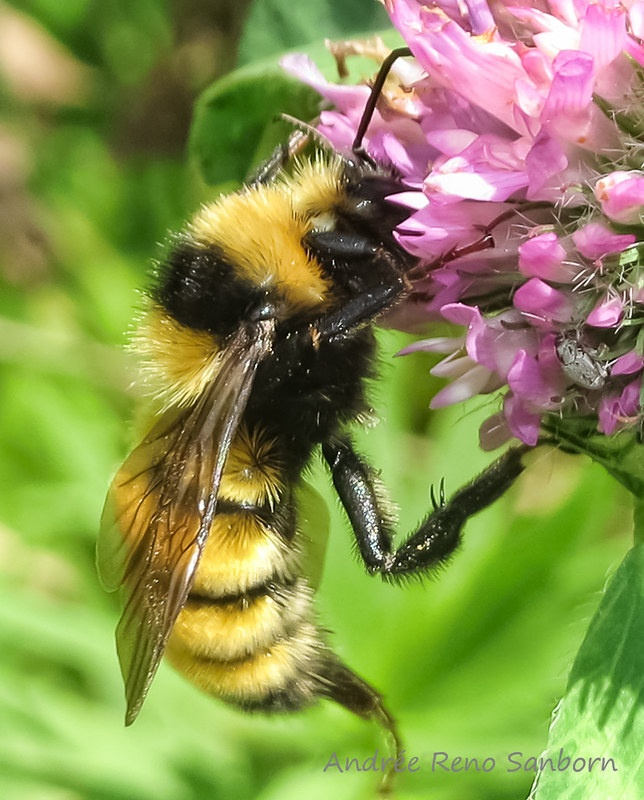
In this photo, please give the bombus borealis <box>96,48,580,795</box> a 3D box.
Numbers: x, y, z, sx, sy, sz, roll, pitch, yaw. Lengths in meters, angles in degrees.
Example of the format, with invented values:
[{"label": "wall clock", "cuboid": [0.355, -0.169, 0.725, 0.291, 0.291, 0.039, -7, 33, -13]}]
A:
[{"label": "bombus borealis", "cuboid": [-0.094, 0.006, 0.977, 0.439, 0.619, 0.374, -16, 31, -38]}]
